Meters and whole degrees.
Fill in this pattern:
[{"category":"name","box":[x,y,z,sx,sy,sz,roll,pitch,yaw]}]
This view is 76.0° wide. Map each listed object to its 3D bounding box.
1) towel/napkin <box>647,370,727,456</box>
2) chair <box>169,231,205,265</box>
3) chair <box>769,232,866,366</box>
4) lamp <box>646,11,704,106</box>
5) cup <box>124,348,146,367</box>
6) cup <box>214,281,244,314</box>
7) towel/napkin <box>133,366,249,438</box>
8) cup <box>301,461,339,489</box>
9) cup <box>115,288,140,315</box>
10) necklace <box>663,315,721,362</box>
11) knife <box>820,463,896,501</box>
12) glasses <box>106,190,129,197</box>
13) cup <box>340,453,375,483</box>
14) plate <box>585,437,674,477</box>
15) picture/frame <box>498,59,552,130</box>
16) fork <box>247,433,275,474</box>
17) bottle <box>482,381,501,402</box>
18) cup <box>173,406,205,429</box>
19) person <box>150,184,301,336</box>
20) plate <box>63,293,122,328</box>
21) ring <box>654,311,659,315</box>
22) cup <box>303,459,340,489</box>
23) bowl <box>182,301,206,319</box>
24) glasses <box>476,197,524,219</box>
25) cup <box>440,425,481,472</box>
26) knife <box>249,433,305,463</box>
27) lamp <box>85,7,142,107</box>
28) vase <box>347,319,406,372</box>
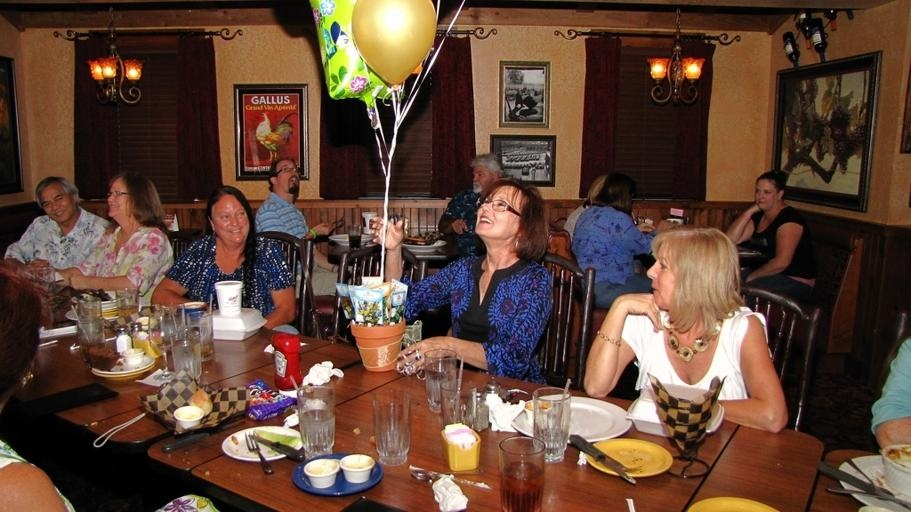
[{"category":"towel/napkin","box":[1.018,0.704,2.766,0.401,0.363,0.388,1,-1,9]},{"category":"chair","box":[-2.068,-0.057,4.474,0.282,0.324,0.250,-1,7,-27]},{"category":"chair","box":[3.156,0.376,5.029,0.387,0.633,1.253,2,15,22]},{"category":"lamp","box":[2.523,-2.295,6.659,0.619,1.050,1.195,4,12,22]},{"category":"cup","box":[-1.758,0.552,3.191,0.095,0.080,0.093,2,-4,0]},{"category":"cup","box":[-1.354,0.247,3.629,0.197,0.192,0.190,2,6,0]},{"category":"towel/napkin","box":[-1.240,0.669,2.835,0.355,0.117,0.336,-6,25,-43]},{"category":"cup","box":[-0.594,0.956,2.579,0.151,0.095,0.097,2,11,15]},{"category":"cup","box":[-2.099,0.295,3.726,0.143,0.143,0.142,1,-4,0]},{"category":"necklace","box":[1.260,0.462,3.101,0.264,0.231,0.064,2,-25,27]},{"category":"knife","box":[1.777,0.996,2.568,0.375,0.061,0.042,16,-23,22]},{"category":"glasses","box":[-2.541,-0.467,4.381,0.139,0.039,0.037,0,11,1]},{"category":"cup","box":[-0.436,0.929,2.582,0.120,0.049,0.115,1,4,0]},{"category":"plate","box":[0.831,0.921,2.683,0.208,0.025,0.193,-1,14,-1]},{"category":"picture/frame","box":[0.851,-2.015,7.140,0.862,0.933,0.073,0,8,-1]},{"category":"fork","box":[-0.930,0.878,2.753,0.061,0.050,0.355,-18,35,-26]},{"category":"bottle","box":[0.185,0.673,2.925,0.082,0.068,0.078,1,2,11]},{"category":"cup","box":[-1.283,0.763,2.807,0.113,0.045,0.107,3,4,0]},{"category":"person","box":[-1.570,0.045,4.376,1.334,1.131,0.918,3,18,-9]},{"category":"plate","box":[-2.171,0.316,3.578,0.294,0.088,0.282,-2,4,-45]},{"category":"ring","box":[1.090,0.303,3.143,0.021,0.019,0.006,-2,2,6]},{"category":"cup","box":[-0.590,0.943,2.572,0.129,0.052,0.123,1,2,0]},{"category":"bowl","box":[-1.482,0.305,3.337,0.117,0.042,0.112,3,2,0]},{"category":"glasses","box":[0.271,-0.292,3.479,0.156,0.042,0.148,15,-4,-23]},{"category":"cup","box":[0.027,0.873,2.688,0.157,0.131,0.201,-1,5,-8]},{"category":"knife","box":[-0.826,0.886,2.691,0.324,0.055,0.056,14,21,31]},{"category":"lamp","box":[-3.859,-2.216,6.587,0.547,0.935,1.177,-6,12,-26]},{"category":"vase","box":[-0.416,0.469,3.251,0.294,0.207,0.291,3,5,36]}]
